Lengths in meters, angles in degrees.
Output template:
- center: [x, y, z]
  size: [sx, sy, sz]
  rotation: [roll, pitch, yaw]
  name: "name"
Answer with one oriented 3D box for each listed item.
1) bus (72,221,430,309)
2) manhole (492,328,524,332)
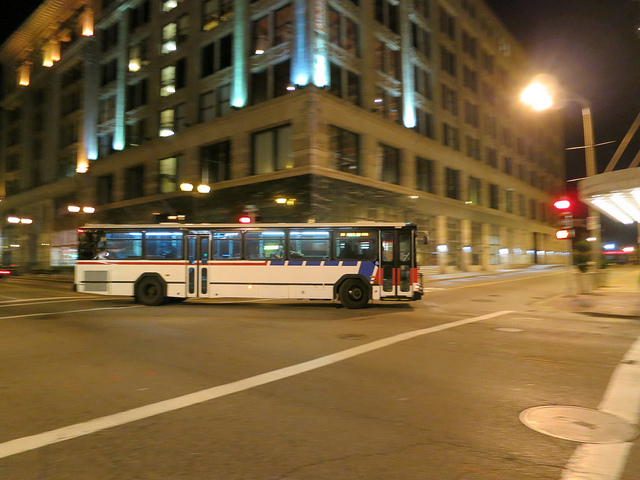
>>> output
- center: [-2.442, 0.977, 25.959]
  size: [15.104, 2.808, 3.065]
  rotation: [0, -1, 17]
  name: "bus"
- center: [5.741, 2.747, 18.989]
  size: [0.850, 0.082, 0.625]
  rotation: [0, -5, 10]
  name: "manhole"
